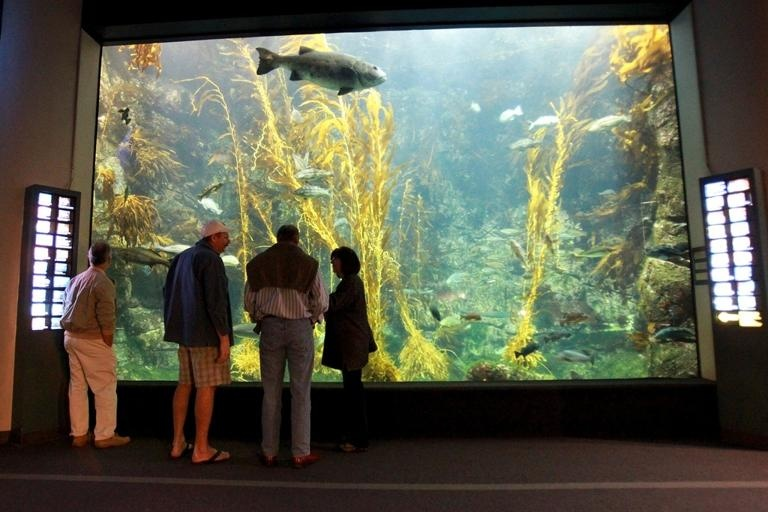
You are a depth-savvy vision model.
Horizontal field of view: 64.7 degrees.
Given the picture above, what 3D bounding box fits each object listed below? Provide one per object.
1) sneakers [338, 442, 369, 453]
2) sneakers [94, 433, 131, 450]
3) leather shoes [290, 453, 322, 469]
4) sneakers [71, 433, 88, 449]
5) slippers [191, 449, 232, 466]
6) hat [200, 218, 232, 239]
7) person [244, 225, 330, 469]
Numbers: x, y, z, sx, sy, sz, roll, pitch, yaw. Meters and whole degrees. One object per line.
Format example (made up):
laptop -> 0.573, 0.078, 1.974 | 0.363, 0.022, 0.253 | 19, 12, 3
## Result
sneakers -> -0.421, 2.628, 8.331 | 0.404, 0.142, 0.131 | 5, -7, -6
sneakers -> -3.764, 2.586, 8.429 | 0.464, 0.172, 0.162 | -3, 4, -21
leather shoes -> -1.035, 2.673, 7.908 | 0.392, 0.148, 0.135 | -2, 1, -33
sneakers -> -4.218, 2.560, 8.413 | 0.221, 0.135, 0.163 | -6, 14, -25
slippers -> -2.261, 2.672, 8.015 | 0.389, 0.094, 0.178 | 0, -4, -12
hat -> -2.308, -0.376, 8.254 | 0.274, 0.348, 0.280 | 2, 12, -26
person -> -1.311, 1.159, 8.021 | 1.081, 3.006, 1.001 | 0, 13, 3
